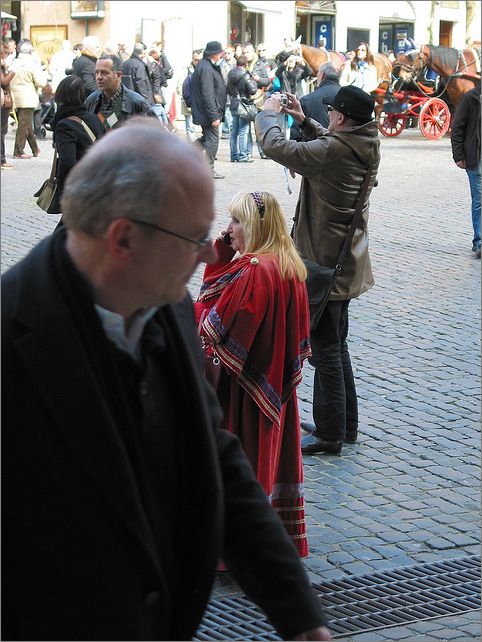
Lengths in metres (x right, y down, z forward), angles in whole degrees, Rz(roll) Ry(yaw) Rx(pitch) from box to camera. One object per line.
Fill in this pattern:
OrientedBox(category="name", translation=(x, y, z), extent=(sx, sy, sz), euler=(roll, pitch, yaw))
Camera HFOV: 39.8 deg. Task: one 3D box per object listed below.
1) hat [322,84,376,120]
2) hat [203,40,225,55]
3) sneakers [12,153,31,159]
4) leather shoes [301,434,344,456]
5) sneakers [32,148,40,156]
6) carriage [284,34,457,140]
OrientedBox(category="hat", translation=(0.629, -1.298, 3.967), extent=(0.214, 0.109, 0.283), euler=(-3, 42, -34))
OrientedBox(category="hat", translation=(-0.530, -5.091, 12.363), extent=(0.332, 0.261, 0.444), euler=(1, 13, -2))
OrientedBox(category="sneakers", translation=(-4.767, -3.560, 14.346), extent=(0.428, 0.151, 0.145), euler=(0, 24, -8))
OrientedBox(category="leather shoes", translation=(0.492, 0.784, 4.207), extent=(0.316, 0.126, 0.107), euler=(4, -31, 4))
OrientedBox(category="sneakers", translation=(-4.516, -3.694, 14.673), extent=(0.126, 0.137, 0.349), euler=(-4, -7, -9))
OrientedBox(category="carriage", translation=(4.097, -6.897, 19.845), extent=(5.166, 2.475, 1.531), euler=(-5, 33, -13))
